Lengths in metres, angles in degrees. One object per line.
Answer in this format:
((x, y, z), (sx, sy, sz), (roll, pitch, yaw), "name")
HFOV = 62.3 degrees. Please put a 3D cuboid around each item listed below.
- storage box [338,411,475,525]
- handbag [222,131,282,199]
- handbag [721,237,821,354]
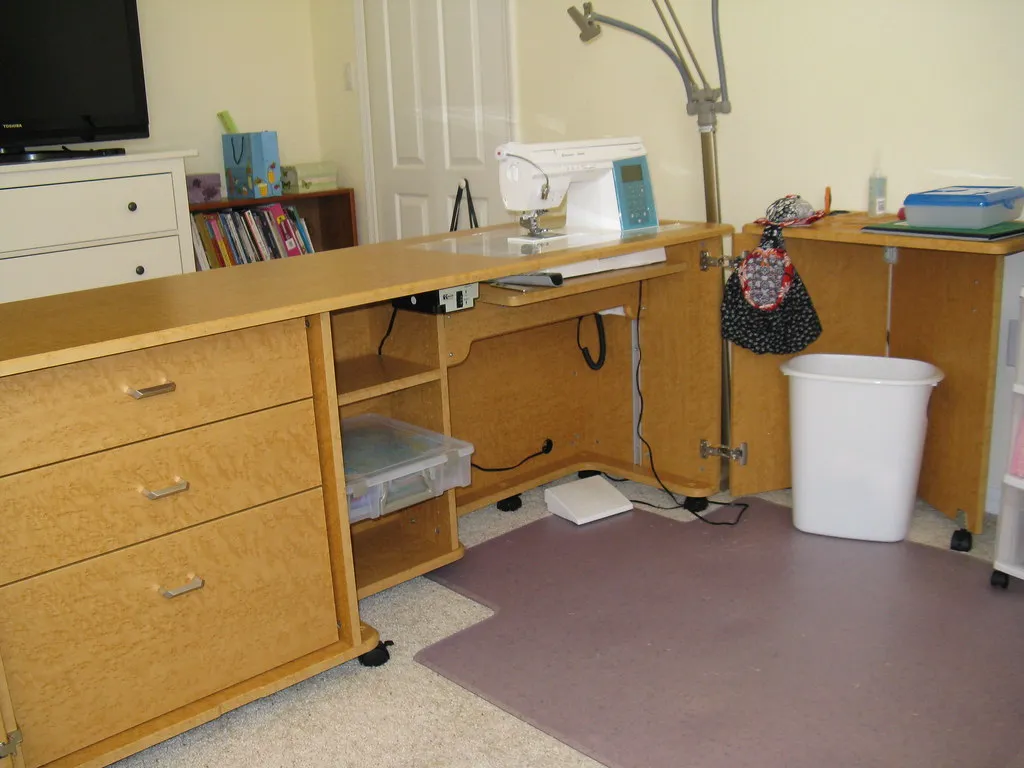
((-0.328, 0.231, 2.425), (0.327, 0.089, 0.315), (17, 25, 42), "storage box")
((-1.464, -1.237, 4.786), (0.196, 0.336, 0.340), (-16, 20, -40), "handbag")
((0.914, -0.322, 2.970), (0.325, 0.386, 0.107), (3, 11, 15), "handbag")
